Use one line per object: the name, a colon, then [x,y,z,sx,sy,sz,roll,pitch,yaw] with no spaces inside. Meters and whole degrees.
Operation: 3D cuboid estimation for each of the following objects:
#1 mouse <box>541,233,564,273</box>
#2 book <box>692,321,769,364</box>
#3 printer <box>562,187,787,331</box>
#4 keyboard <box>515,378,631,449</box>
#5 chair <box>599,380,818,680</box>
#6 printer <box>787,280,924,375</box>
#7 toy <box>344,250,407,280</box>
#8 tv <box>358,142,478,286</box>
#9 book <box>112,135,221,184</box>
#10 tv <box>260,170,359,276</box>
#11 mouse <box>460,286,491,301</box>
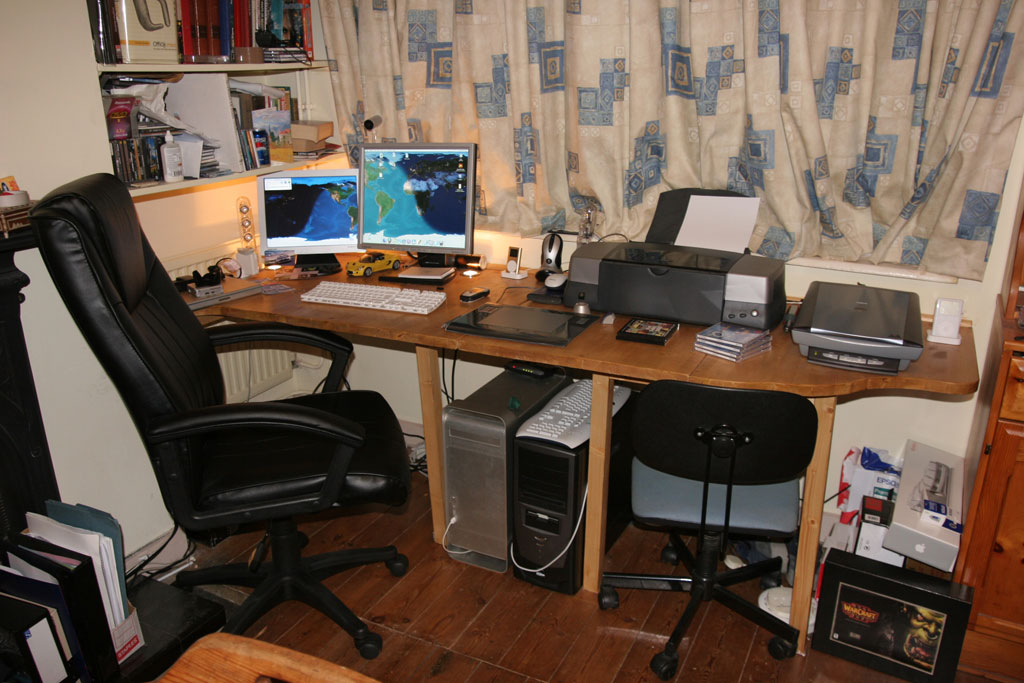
mouse: [0.168,-0.386,3.324,0.101,0.171,0.069,9,10,28]
book: [0.806,-0.001,2.744,0.227,0.052,0.230,15,30,35]
printer: [0.698,-0.311,2.991,0.989,0.516,0.569,12,33,27]
keyboard: [0.240,0.281,3.054,0.270,0.078,0.528,10,23,28]
chair: [0.723,0.692,2.735,0.779,0.996,0.745,4,30,14]
printer: [1.243,-0.063,2.735,0.408,0.168,0.437,7,26,22]
toy: [-0.612,-0.355,3.464,0.214,0.069,0.127,-19,28,-41]
tv: [-0.430,-0.585,3.390,0.608,0.611,0.329,3,14,13]
book: [-1.530,-0.793,3.273,0.232,0.105,0.315,14,21,37]
tv: [-0.927,-0.557,3.467,0.485,0.453,0.178,-3,7,-14]
mouse: [-0.164,-0.208,3.183,0.056,0.035,0.102,17,25,41]
